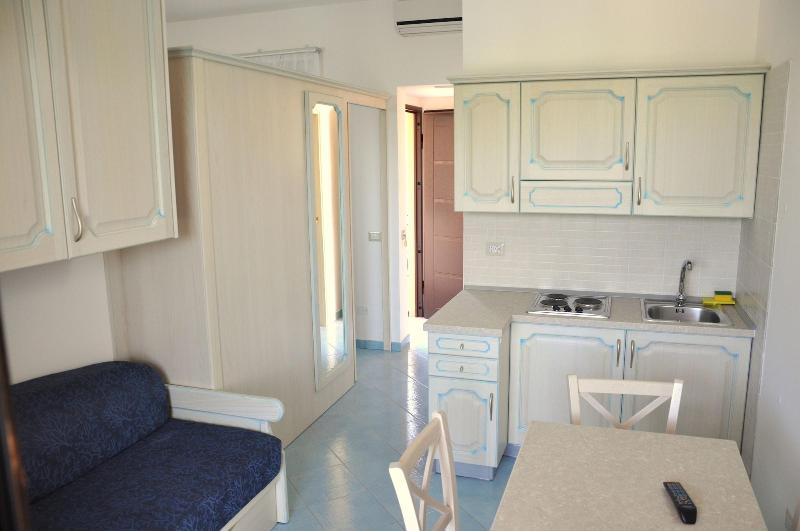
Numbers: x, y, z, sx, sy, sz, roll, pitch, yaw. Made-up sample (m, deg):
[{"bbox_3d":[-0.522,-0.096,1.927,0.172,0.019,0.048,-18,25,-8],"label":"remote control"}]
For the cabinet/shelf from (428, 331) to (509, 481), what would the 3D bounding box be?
[{"bbox_3d":[0.517,0.992,4.053,0.546,1.006,0.533,1,-1,20],"label":"cabinet/shelf"}]

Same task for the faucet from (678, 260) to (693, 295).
[{"bbox_3d":[2.130,0.095,4.140,0.089,0.267,0.164,6,11,27],"label":"faucet"}]

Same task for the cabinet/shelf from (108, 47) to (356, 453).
[{"bbox_3d":[-0.935,-0.362,5.011,0.792,2.491,2.230,2,11,7],"label":"cabinet/shelf"}]

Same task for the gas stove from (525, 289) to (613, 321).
[{"bbox_3d":[1.280,0.288,4.157,0.561,0.077,0.618,4,9,20],"label":"gas stove"}]
